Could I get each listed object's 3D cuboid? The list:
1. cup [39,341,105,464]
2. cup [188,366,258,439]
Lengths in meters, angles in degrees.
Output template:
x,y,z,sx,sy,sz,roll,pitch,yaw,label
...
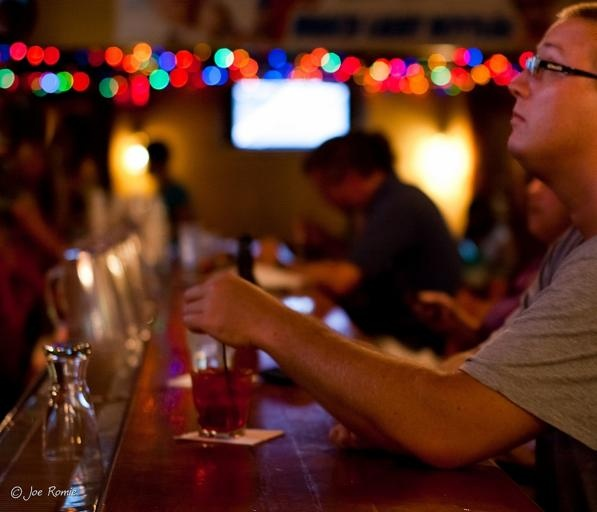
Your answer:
x,y,z,sx,sy,sz,roll,pitch,yaw,label
-0.351,0.222,0.931,0.087,0.180,0.069,-2,4,-17,cup
-0.118,0.233,1.003,0.093,0.122,0.102,-1,-3,7,cup
